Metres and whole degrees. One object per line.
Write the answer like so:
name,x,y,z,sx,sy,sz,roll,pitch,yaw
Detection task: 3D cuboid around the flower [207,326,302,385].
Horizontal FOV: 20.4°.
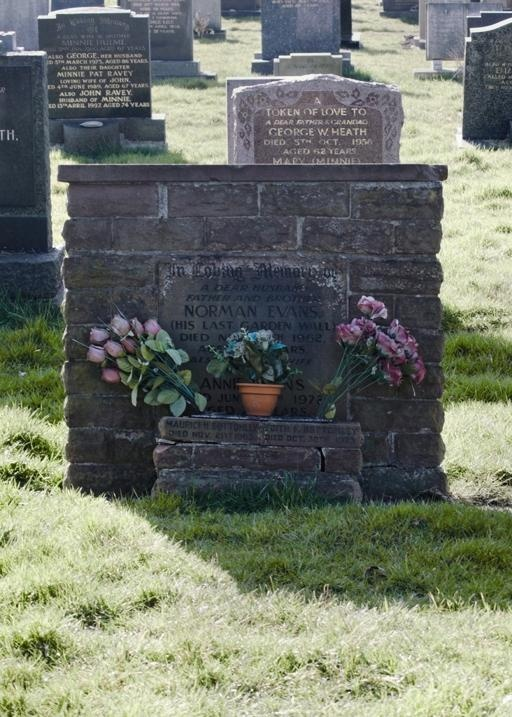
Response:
flower,-0.005,-0.008,6.322,0.413,0.264,0.274,1,8,1

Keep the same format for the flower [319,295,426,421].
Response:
flower,0.420,0.065,6.323,0.354,0.431,0.385,27,1,-24

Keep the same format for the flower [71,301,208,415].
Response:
flower,-0.423,0.029,6.351,0.336,0.259,0.657,-13,48,-47

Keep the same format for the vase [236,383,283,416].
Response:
vase,0.015,0.159,6.303,0.155,0.110,0.159,4,3,39
